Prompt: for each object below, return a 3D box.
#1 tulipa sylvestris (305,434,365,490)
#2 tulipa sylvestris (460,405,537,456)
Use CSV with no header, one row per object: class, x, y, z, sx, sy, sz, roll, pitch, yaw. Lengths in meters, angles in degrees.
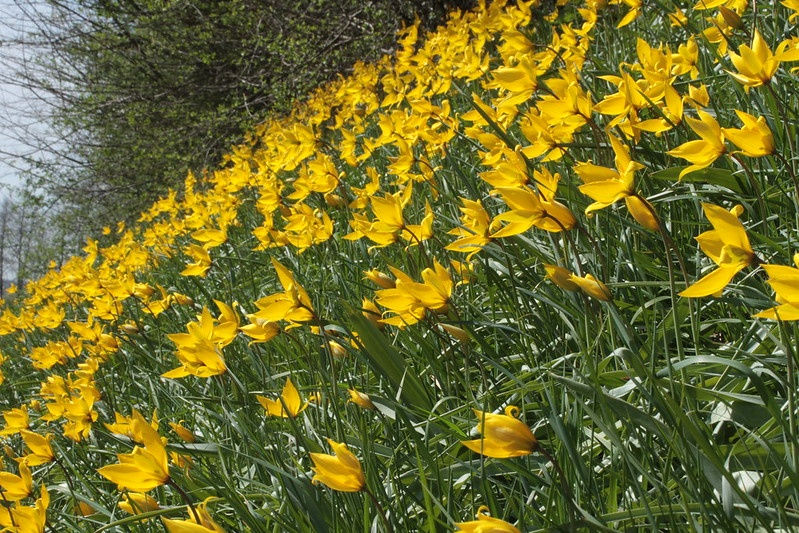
tulipa sylvestris,-0.173,0.601,2.285,0.124,0.161,0.148,30,81,19
tulipa sylvestris,0.276,0.468,2.163,0.091,0.171,0.155,-2,50,46
